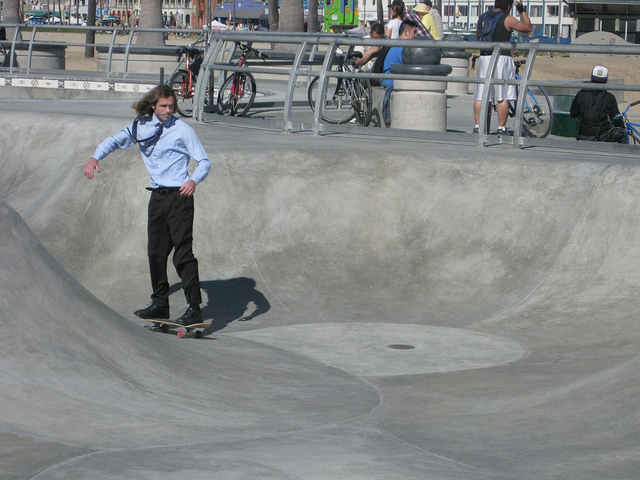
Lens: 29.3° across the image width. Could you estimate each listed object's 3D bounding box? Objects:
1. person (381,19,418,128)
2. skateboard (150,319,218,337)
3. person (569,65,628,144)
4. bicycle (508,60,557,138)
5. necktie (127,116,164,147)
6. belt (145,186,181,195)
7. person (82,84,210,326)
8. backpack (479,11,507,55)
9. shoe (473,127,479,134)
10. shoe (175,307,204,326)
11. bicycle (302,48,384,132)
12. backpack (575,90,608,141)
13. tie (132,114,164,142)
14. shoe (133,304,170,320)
[{"bbox_3d":[1.214,-2.527,18.615,0.485,1.631,0.741,2,9,3],"label":"person"},{"bbox_3d":[-1.446,0.946,12.802,0.936,0.129,0.251,6,11,40],"label":"skateboard"},{"bbox_3d":[3.841,-1.849,16.694,0.791,1.027,1.999,3,9,12],"label":"person"},{"bbox_3d":[3.139,-2.228,18.653,0.465,1.012,1.986,-8,15,-9],"label":"bicycle"},{"bbox_3d":[-1.807,-1.107,12.614,0.401,0.291,0.081,4,9,16],"label":"necktie"},{"bbox_3d":[-1.603,-0.517,12.606,0.343,0.090,0.148,0,9,-12],"label":"belt"},{"bbox_3d":[-1.654,-0.373,12.703,1.085,2.446,0.404,4,9,17],"label":"person"},{"bbox_3d":[2.454,-2.881,17.329,0.393,0.604,0.359,5,1,-14],"label":"backpack"},{"bbox_3d":[2.272,-1.589,17.739,0.065,0.078,0.189,4,7,9],"label":"shoe"},{"bbox_3d":[-1.332,0.794,12.750,0.132,0.154,0.310,-3,-6,42],"label":"shoe"},{"bbox_3d":[0.490,-2.500,19.850,1.033,1.172,2.099,-3,11,-27],"label":"bicycle"},{"bbox_3d":[3.749,-1.717,16.828,0.409,0.665,0.212,6,10,25],"label":"backpack"},{"bbox_3d":[-1.770,-1.142,12.595,0.324,0.264,0.080,2,9,4],"label":"tie"},{"bbox_3d":[-1.746,0.747,12.866,0.401,0.164,0.146,6,9,-11],"label":"shoe"}]
